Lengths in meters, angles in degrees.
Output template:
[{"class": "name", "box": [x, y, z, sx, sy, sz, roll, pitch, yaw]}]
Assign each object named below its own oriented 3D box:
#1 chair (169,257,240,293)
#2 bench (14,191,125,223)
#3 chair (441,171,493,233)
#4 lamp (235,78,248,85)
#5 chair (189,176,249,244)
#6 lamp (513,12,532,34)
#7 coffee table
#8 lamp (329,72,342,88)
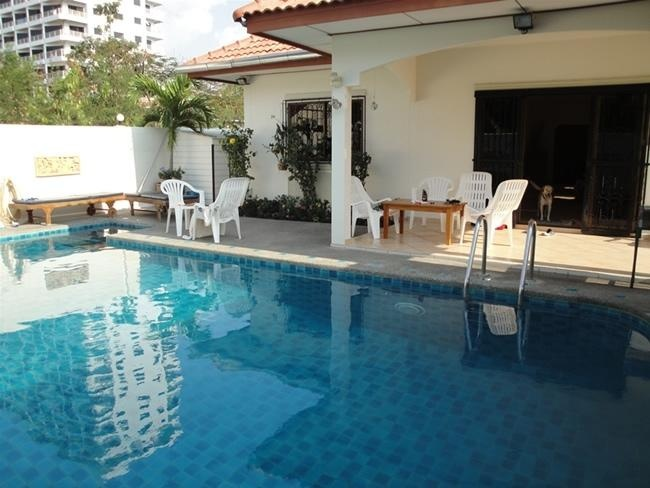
[{"class": "chair", "box": [-1.888, 0.448, 7.216, 0.863, 0.209, 0.427, 13, 19, 39]}, {"class": "bench", "box": [-6.107, -0.893, 10.756, 1.217, 0.591, 2.260, 9, 14, 35]}, {"class": "chair", "box": [2.989, -0.972, 9.163, 0.862, 1.249, 0.933, 6, 11, 30]}, {"class": "lamp", "box": [-2.182, -4.281, 11.863, 0.359, 0.161, 0.168, 8, 14, 34]}, {"class": "chair", "box": [-2.062, -0.697, 8.723, 0.909, 1.176, 0.760, 6, 13, 28]}, {"class": "lamp", "box": [2.644, -2.969, 6.029, 0.254, 0.257, 0.211, 6, 13, 27]}, {"class": "coffee table", "box": [1.815, -0.482, 8.368, 1.440, 0.741, 1.406, 4, 12, 17]}, {"class": "lamp", "box": [0.197, -2.723, 7.481, 0.190, 0.247, 0.089, 0, 11, -1]}]
